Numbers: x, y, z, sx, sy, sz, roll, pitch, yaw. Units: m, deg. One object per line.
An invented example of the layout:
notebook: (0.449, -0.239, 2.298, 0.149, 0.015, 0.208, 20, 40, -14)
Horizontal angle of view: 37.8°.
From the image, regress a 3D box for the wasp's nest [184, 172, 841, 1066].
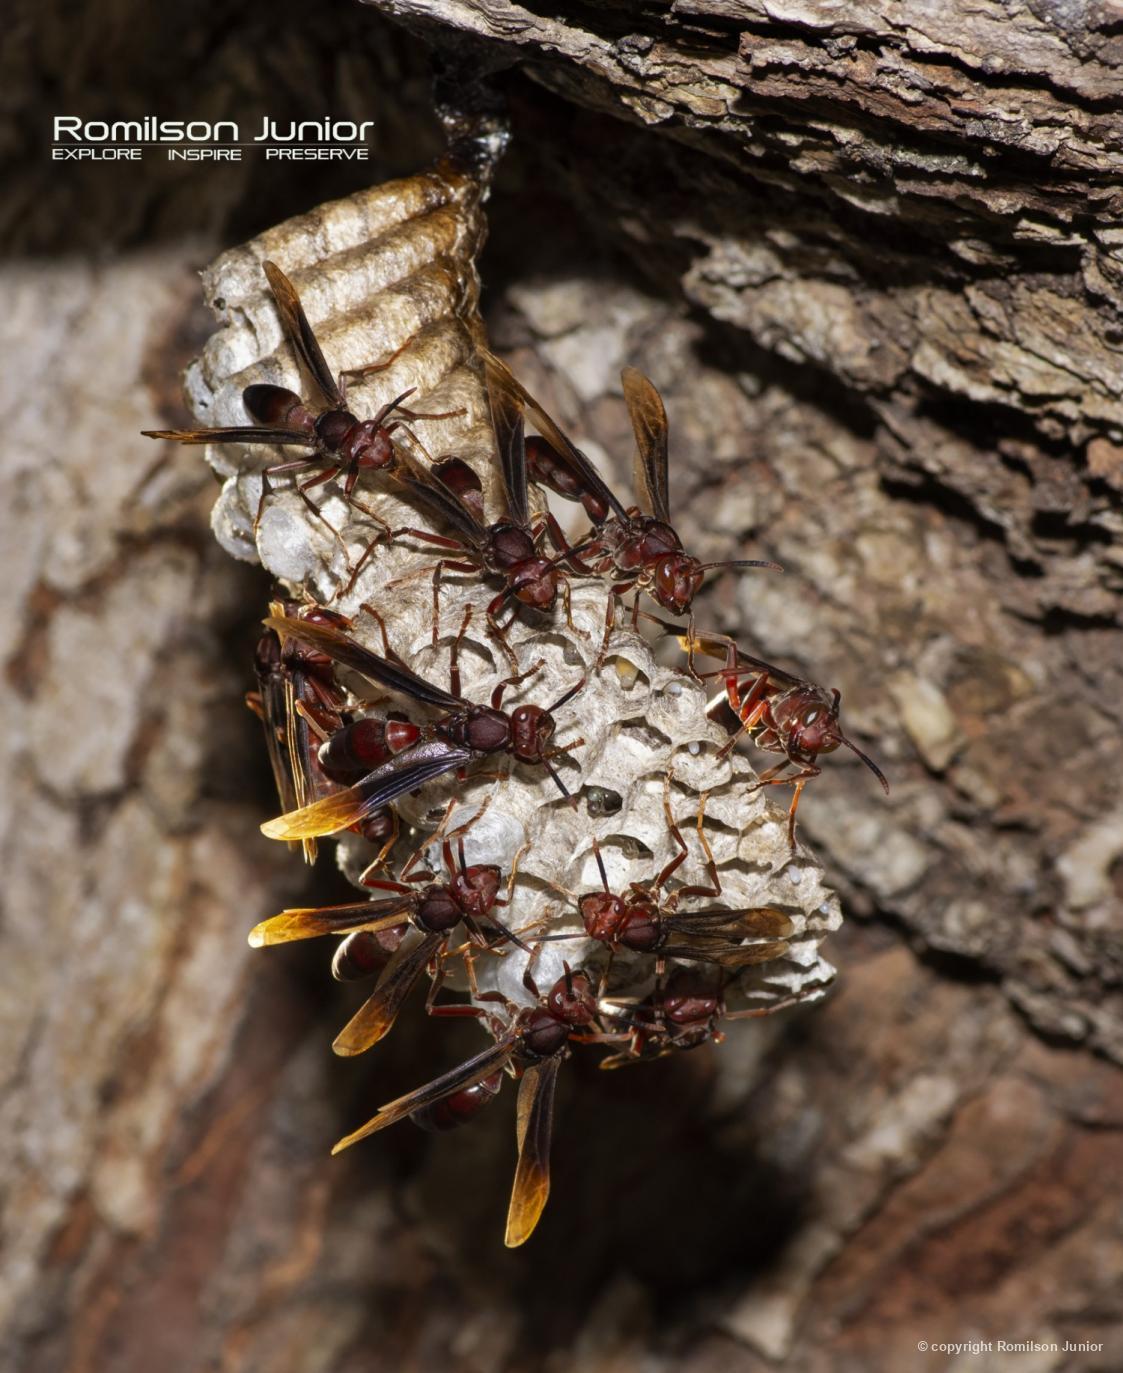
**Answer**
wasp's nest: (-0.036, -0.140, 3.983, 1.783, 1.888, 1.289, -6, 18, -27)

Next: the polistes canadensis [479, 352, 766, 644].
polistes canadensis: (0.112, -0.415, 3.750, 0.391, 0.632, 0.762, -51, 61, 25)

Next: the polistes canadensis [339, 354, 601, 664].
polistes canadensis: (-0.159, -0.375, 3.732, 0.597, 0.309, 0.669, -21, 51, -8)
